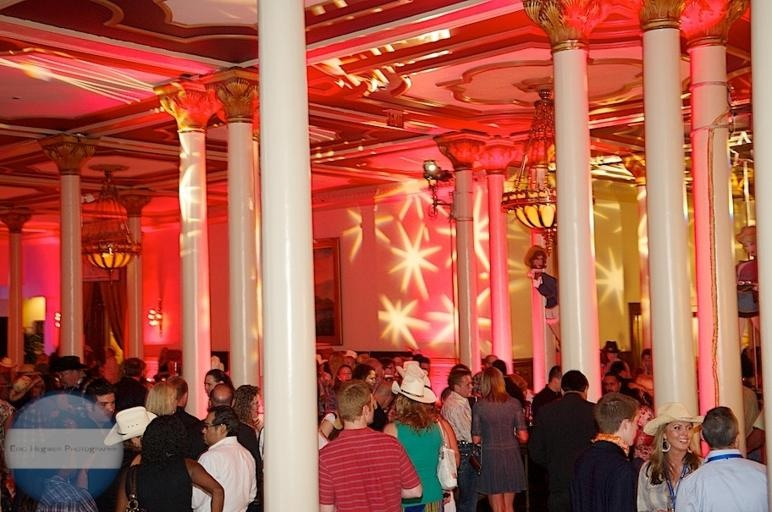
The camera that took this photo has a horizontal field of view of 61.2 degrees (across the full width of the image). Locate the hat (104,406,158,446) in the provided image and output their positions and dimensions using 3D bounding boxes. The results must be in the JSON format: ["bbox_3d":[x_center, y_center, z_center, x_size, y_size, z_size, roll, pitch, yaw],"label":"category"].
[{"bbox_3d":[-1.906,1.275,4.892,0.472,0.284,0.253,-8,-11,37],"label":"hat"}]

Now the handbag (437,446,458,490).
[{"bbox_3d":[0.465,1.626,5.007,0.162,0.353,0.364,-1,-10,12],"label":"handbag"}]

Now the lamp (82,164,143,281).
[{"bbox_3d":[-5.550,-0.692,12.969,1.373,1.920,1.281,0,1,-2],"label":"lamp"}]

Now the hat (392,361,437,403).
[{"bbox_3d":[0.238,0.986,5.045,0.261,0.298,0.366,-2,-9,3],"label":"hat"}]
